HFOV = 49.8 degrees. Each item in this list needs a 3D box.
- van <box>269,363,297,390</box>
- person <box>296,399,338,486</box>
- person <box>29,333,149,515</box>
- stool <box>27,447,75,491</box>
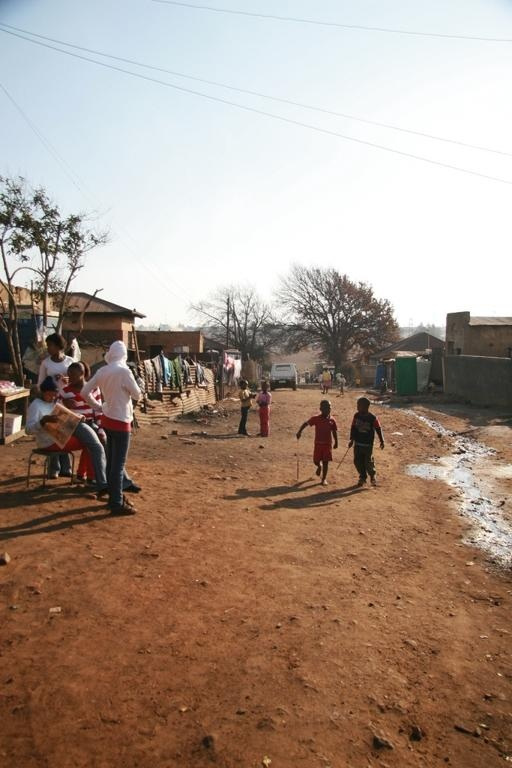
[{"bbox_3d":[1.767,-0.488,35.888,1.193,1.073,2.021,0,10,5],"label":"van"},{"bbox_3d":[1.022,0.899,9.337,0.690,1.377,2.159,7,5,8],"label":"person"},{"bbox_3d":[-1.531,0.450,5.749,0.636,1.798,0.833,4,6,-17],"label":"person"},{"bbox_3d":[-2.435,0.961,6.604,0.575,0.620,0.689,7,-6,-32],"label":"stool"}]
